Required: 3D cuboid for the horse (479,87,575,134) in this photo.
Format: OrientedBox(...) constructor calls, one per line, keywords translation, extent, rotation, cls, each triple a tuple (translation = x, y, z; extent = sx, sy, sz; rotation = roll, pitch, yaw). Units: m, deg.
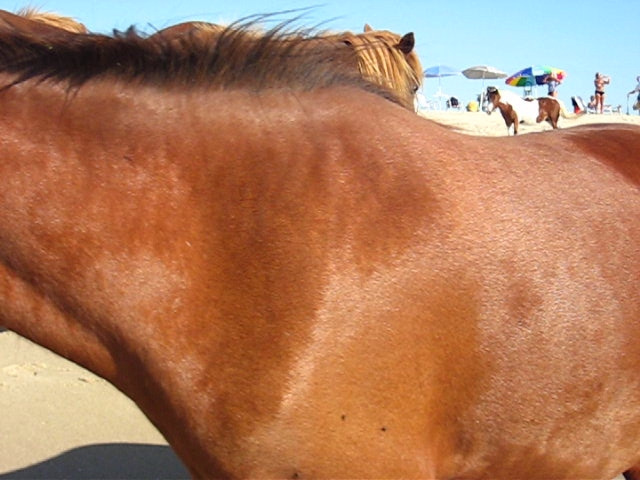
OrientedBox(translation=(4.233, -2.587, 13.894), extent=(1.649, 1.093, 0.393), rotation=(0, 11, 21), cls="horse")
